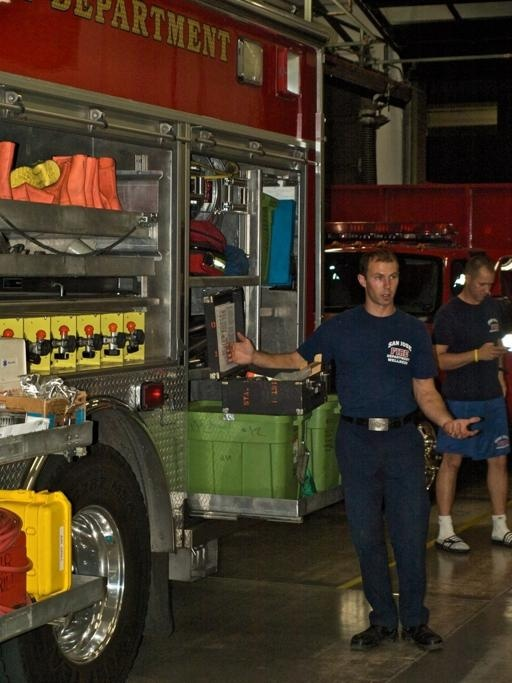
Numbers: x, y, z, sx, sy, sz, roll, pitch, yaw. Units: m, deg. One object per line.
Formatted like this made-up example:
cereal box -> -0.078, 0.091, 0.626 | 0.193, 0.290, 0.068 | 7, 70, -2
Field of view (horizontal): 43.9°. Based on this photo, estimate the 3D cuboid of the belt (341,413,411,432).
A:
belt -> 0.615, 0.423, 3.266 | 0.351, 0.081, 0.152 | -1, -4, 4

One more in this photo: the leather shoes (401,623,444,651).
leather shoes -> 0.859, 1.524, 3.305 | 0.096, 0.092, 0.195 | -2, 0, -44

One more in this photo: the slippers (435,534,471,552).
slippers -> 1.542, 1.594, 5.012 | 0.129, 0.087, 0.218 | 0, -2, -36

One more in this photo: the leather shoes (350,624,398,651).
leather shoes -> 0.616, 1.538, 3.331 | 0.241, 0.089, 0.098 | 2, -6, -27
